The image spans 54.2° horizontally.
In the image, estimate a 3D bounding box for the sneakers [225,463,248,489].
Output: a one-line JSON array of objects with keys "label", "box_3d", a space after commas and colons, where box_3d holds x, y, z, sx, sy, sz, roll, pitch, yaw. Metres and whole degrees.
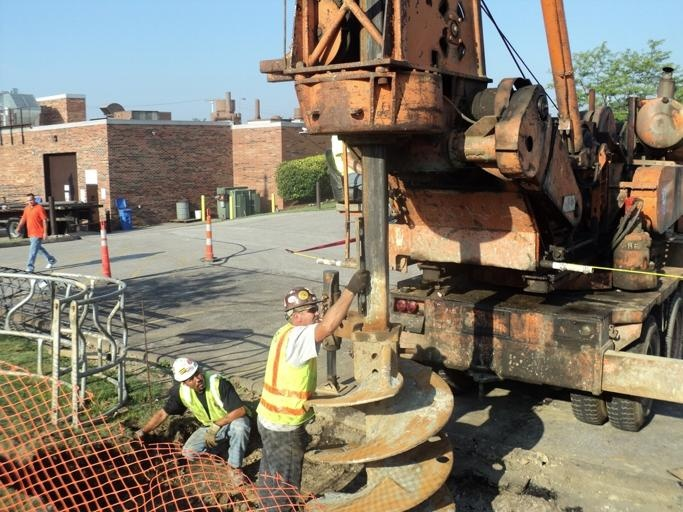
[{"label": "sneakers", "box_3d": [-1.083, 2.231, 6.835, 0.135, 0.104, 0.245, 9, -3, -40]}]

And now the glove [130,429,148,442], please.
[{"label": "glove", "box_3d": [-2.220, 1.959, 7.374, 0.142, 0.077, 0.184, -4, -32, 3]}]

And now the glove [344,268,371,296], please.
[{"label": "glove", "box_3d": [0.149, 0.249, 6.106, 0.172, 0.249, 0.375, -1, 7, 20]}]

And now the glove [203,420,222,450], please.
[{"label": "glove", "box_3d": [-1.331, 1.820, 6.858, 0.075, 0.241, 0.179, 21, -17, -25]}]

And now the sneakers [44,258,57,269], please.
[{"label": "sneakers", "box_3d": [-7.041, 0.185, 16.174, 0.093, 0.251, 0.107, 10, -41, -2]}]

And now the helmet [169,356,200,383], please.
[{"label": "helmet", "box_3d": [-1.636, 1.153, 6.850, 0.240, 0.169, 0.324, -45, 16, -28]}]

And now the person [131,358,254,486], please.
[{"label": "person", "box_3d": [-1.461, 1.655, 6.976, 1.046, 1.318, 0.471, -2, 7, 8]}]

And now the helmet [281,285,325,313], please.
[{"label": "helmet", "box_3d": [-0.384, 0.387, 6.204, 0.291, 0.153, 0.221, -15, 7, -2]}]
